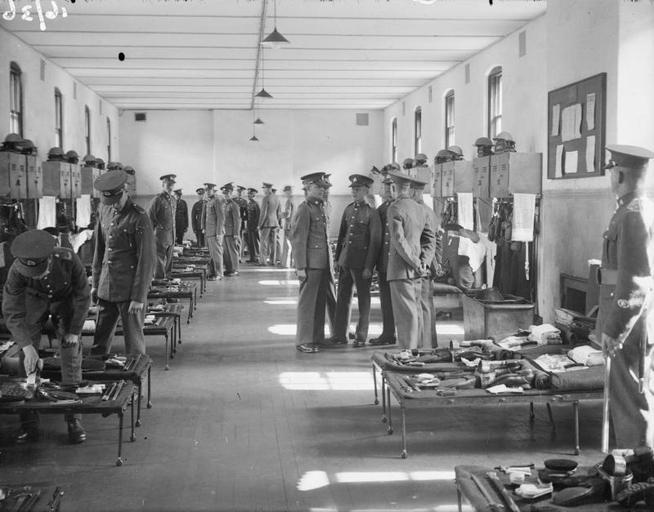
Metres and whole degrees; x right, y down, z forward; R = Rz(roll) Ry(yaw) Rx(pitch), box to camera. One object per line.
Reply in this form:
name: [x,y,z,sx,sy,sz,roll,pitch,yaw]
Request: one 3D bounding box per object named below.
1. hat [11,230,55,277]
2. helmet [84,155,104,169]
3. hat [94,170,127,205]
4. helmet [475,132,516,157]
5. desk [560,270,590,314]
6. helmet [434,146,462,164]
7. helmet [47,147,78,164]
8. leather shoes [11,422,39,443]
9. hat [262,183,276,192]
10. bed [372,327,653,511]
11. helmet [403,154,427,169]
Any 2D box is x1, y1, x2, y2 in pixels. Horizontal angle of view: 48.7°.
hat: [-2.112,0.001,5.192,0.280,0.334,0.194,-3,7,-21]
helmet: [-4.954,-1.973,15.390,0.317,0.271,0.457,10,10,42]
hat: [-1.956,-0.607,6.537,0.267,0.310,0.415,-2,6,-12]
helmet: [2.521,-1.620,10.685,0.541,0.234,0.416,-6,5,-40]
desk: [2.950,0.452,8.562,0.199,0.447,0.731,0,6,1]
helmet: [2.133,-1.776,12.677,0.399,0.216,0.313,5,-2,24]
helmet: [-4.717,-1.748,12.819,0.352,0.254,0.520,2,0,18]
leather shoes: [-2.380,1.405,5.708,0.082,0.101,0.240,2,2,-2]
hat: [-1.494,-1.701,18.224,0.297,0.162,0.394,-1,7,-16]
bed: [1.335,1.135,6.128,1.765,0.607,1.508,0,6,-2]
helmet: [1.790,-1.841,14.347,0.310,0.214,0.465,-1,1,-24]
